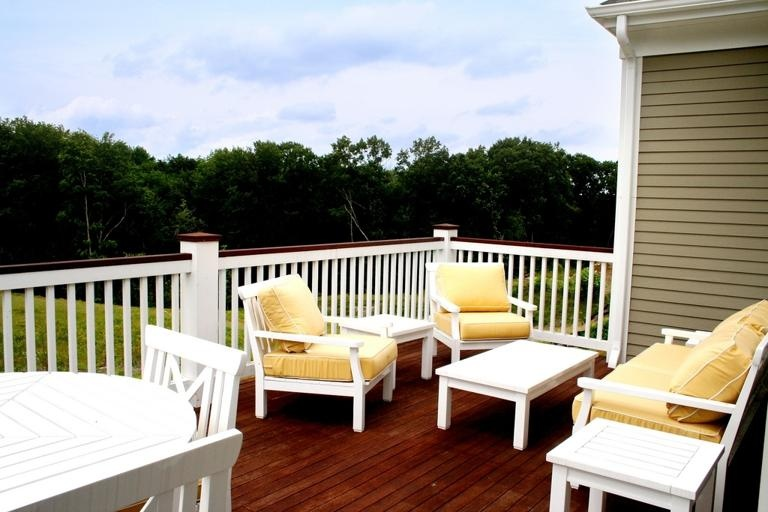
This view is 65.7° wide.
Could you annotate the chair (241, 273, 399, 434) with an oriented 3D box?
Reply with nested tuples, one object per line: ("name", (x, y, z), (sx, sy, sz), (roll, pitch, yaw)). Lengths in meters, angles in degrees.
("chair", (-0.524, 0.707, 4.929), (1.207, 1.156, 1.057), (1, 3, 13))

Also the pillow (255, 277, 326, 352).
("pillow", (-0.681, 0.367, 4.795), (0.471, 0.638, 0.880), (1, 3, 20))
